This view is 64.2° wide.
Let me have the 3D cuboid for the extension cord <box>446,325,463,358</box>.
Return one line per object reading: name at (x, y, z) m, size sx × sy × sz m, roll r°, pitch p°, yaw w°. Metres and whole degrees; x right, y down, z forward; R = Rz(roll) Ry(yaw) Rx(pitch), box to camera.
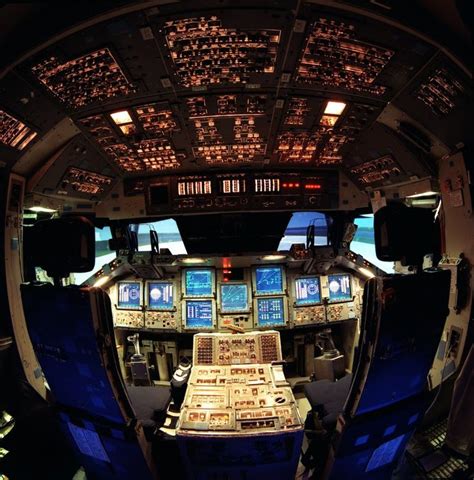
extension cord at (2.056, 0.981, 3.585) m, size 0.066 × 0.189 × 0.246 m, roll 2°, pitch 96°, yaw -29°
